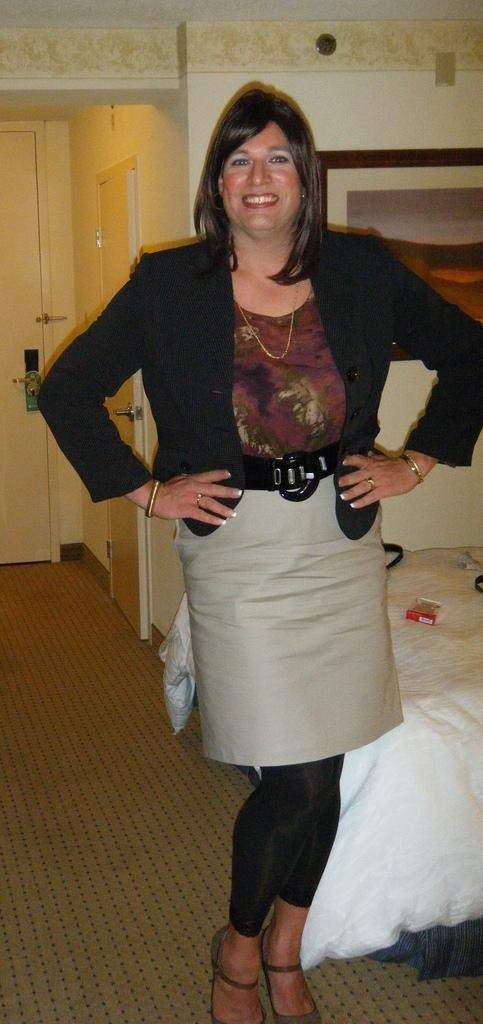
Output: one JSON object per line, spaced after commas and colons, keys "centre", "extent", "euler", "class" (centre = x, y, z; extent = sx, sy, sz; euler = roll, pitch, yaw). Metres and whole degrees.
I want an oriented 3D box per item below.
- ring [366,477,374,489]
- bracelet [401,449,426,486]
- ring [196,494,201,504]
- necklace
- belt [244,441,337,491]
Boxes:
{"centre": [0.202, -0.043, 1.112], "extent": [0.014, 0.017, 0.016], "euler": [2, 6, -5], "class": "ring"}
{"centre": [0.309, -0.073, 1.278], "extent": [0.013, 0.049, 0.049], "euler": [-33, 16, 13], "class": "bracelet"}
{"centre": [-0.065, -0.019, 1.083], "extent": [0.008, 0.013, 0.003], "euler": [3, 3, 31], "class": "ring"}
{"centre": [0.037, -0.291, 1.061], "extent": [0.109, 0.116, 0.030], "euler": [-3, -20, -11], "class": "necklace"}
{"centre": [0.071, -0.061, 1.052], "extent": [0.135, 0.060, 0.039], "euler": [-3, 4, -4], "class": "belt"}
